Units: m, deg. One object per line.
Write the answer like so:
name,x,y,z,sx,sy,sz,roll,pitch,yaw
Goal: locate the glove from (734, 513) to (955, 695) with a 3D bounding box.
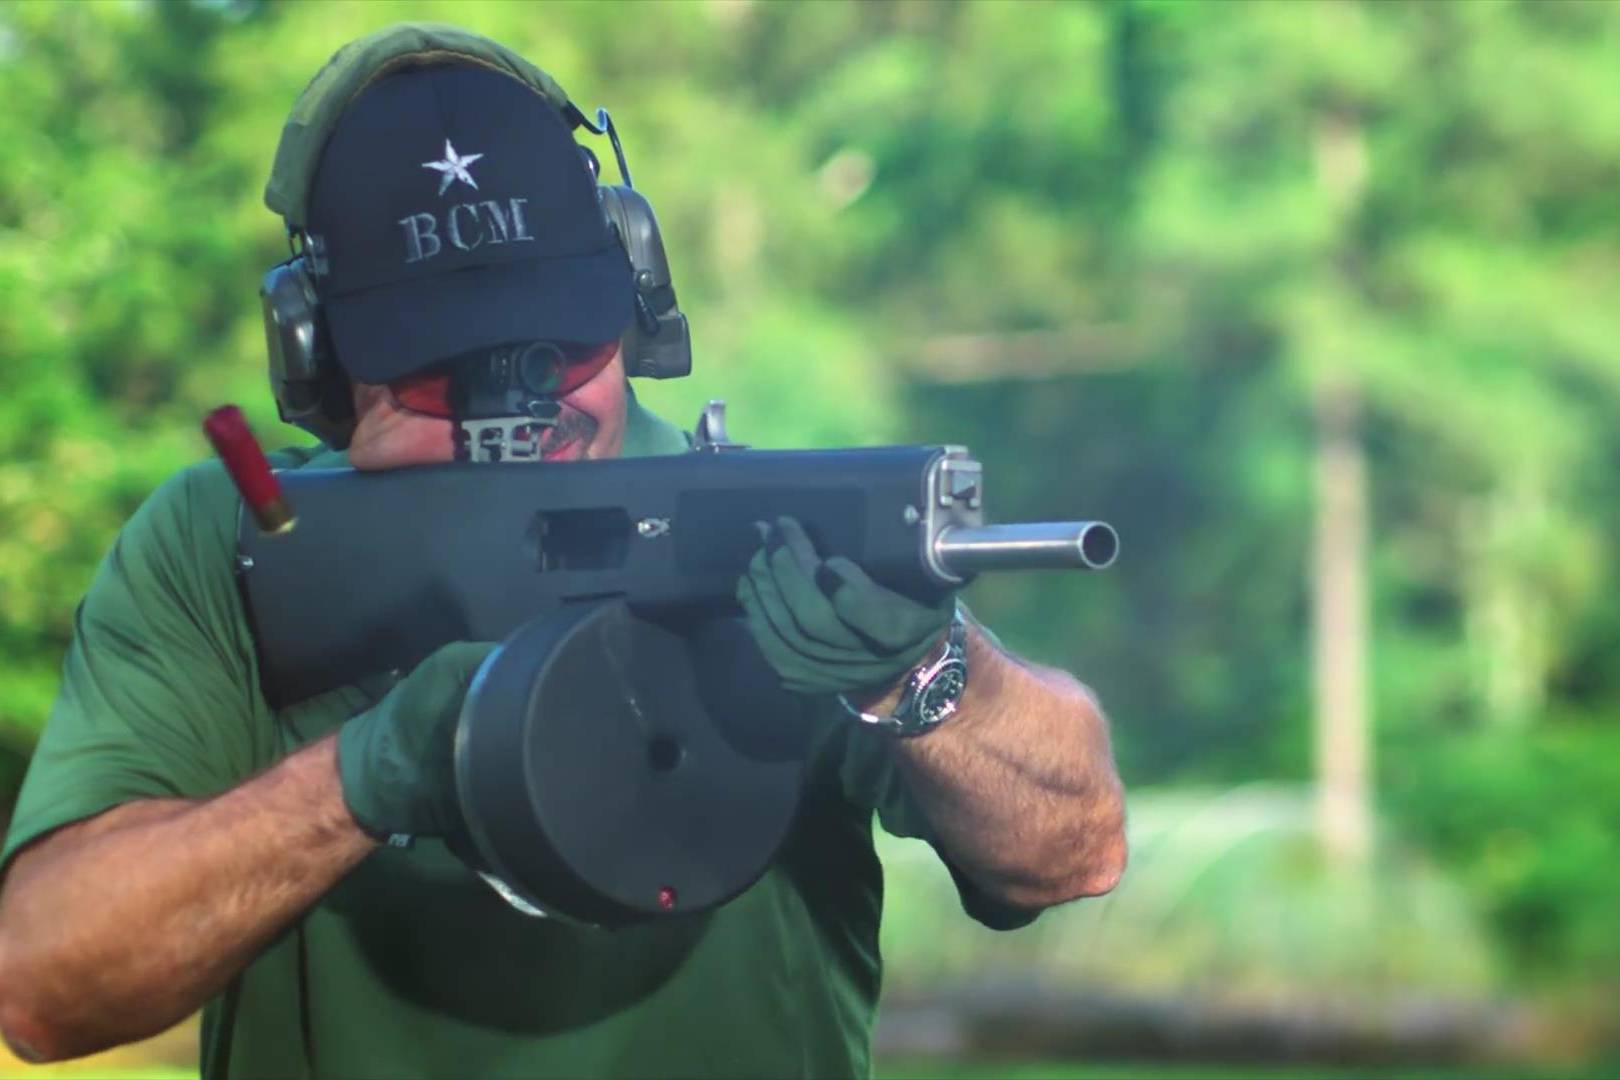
glove,0.050,0.260,6.134,0.605,0.216,0.489,33,27,9
